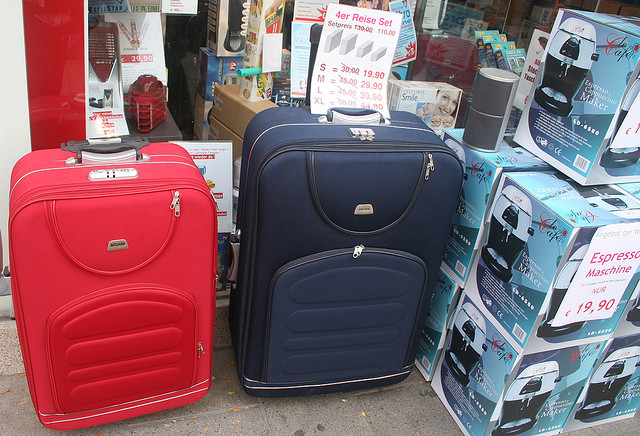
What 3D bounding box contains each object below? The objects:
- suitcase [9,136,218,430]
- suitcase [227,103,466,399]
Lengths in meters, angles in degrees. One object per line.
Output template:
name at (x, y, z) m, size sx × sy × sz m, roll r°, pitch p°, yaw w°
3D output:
suitcase at (-0.832, 0.298, 2.015) m, size 0.788 × 1.122 × 0.365 m, roll -5°, pitch 29°, yaw -16°
suitcase at (0.094, 0.172, 2.402) m, size 0.990 × 1.447 × 0.680 m, roll 1°, pitch 30°, yaw -10°
